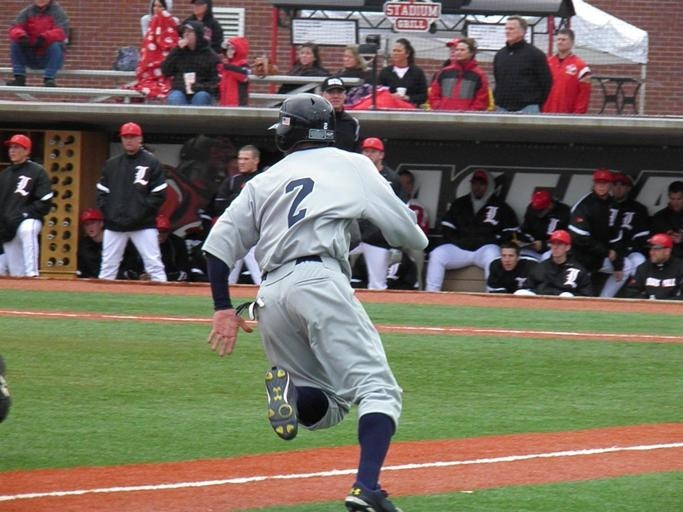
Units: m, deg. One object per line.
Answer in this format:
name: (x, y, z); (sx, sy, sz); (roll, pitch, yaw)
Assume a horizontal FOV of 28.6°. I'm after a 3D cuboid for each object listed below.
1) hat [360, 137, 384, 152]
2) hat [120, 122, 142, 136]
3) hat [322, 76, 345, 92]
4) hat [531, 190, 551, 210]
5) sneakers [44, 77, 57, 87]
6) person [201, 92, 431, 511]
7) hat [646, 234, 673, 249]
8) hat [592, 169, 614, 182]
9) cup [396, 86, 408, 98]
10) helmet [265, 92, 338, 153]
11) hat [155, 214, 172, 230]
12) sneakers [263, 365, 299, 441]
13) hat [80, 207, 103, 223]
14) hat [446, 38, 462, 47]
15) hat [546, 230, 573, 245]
hat: (0.376, -1.261, 15.291); (0.234, 0.123, 0.277); (1, -3, 11)
hat: (-2.442, -1.483, 15.517); (0.319, 0.151, 0.339); (-1, -3, -1)
hat: (-0.075, -1.929, 15.155); (0.242, 0.146, 0.324); (1, 0, -6)
hat: (2.535, -0.688, 16.866); (0.242, 0.136, 0.276); (1, 32, 25)
sneakers: (-3.679, -2.189, 17.031); (0.156, 0.108, 0.095); (2, -32, 9)
person: (-0.208, 0.291, 9.809); (1.621, 2.942, 0.759); (6, 6, 14)
hat: (3.739, -0.167, 15.522); (0.271, 0.102, 0.168); (16, 3, -10)
hat: (3.193, -0.958, 16.268); (0.244, 0.140, 0.319); (2, 3, 17)
cup: (0.746, -1.984, 16.359); (0.155, 0.099, 0.126); (1, -6, 1)
helmet: (-0.353, -1.005, 10.074); (0.562, 0.325, 0.419); (11, 9, 42)
hat: (-2.235, -0.395, 16.916); (0.181, 0.123, 0.195); (-6, -35, -9)
sneakers: (-0.434, 1.055, 9.691); (0.258, 0.496, 0.262); (-13, -25, 9)
hat: (-3.148, -0.493, 16.861); (0.287, 0.130, 0.319); (-6, 9, 2)
hat: (1.353, -2.508, 15.964); (0.096, 0.066, 0.148); (-24, -6, 38)
hat: (2.552, -0.209, 15.443); (0.195, 0.111, 0.248); (0, -13, 27)
